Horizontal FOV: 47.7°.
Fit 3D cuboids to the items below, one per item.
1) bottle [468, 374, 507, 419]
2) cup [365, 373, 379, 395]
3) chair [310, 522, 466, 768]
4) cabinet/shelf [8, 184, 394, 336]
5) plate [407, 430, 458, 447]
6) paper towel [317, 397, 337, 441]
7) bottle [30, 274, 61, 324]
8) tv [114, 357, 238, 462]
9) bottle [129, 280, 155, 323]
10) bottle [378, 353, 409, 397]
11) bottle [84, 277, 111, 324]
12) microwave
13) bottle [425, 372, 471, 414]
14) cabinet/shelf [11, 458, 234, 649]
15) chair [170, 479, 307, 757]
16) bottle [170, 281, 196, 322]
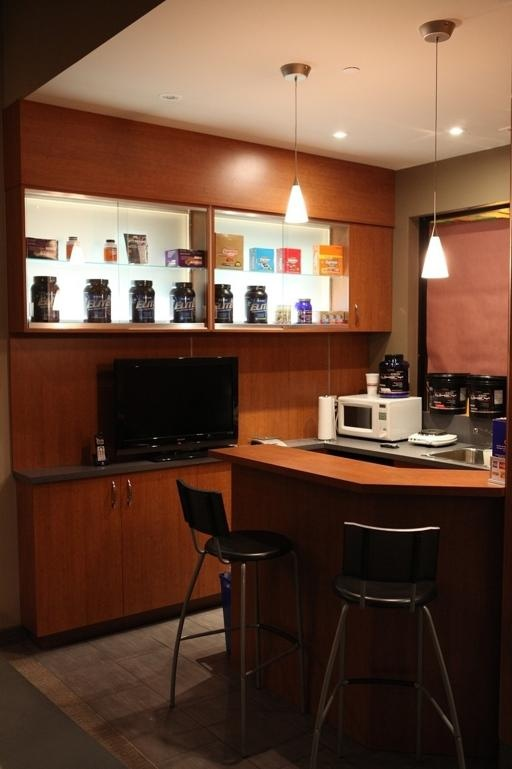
[{"bbox_3d":[1.435,0.066,3.616,0.223,0.264,0.235,-1,4,-16],"label":"bottle"},{"bbox_3d":[0.840,-0.004,4.280,0.122,0.187,0.133,0,1,0],"label":"cup"},{"bbox_3d":[0.373,0.816,1.788,0.490,0.856,0.565,-2,-2,19],"label":"chair"},{"bbox_3d":[-0.125,-0.659,3.618,2.081,0.790,0.276,-1,-10,-20],"label":"cabinet/shelf"},{"bbox_3d":[1.143,0.348,3.722,0.305,0.094,0.292,-1,-3,-8],"label":"plate"},{"bbox_3d":[0.506,0.239,4.128,0.138,0.308,0.209,-1,-2,7],"label":"paper towel"},{"bbox_3d":[-1.032,-0.413,2.844,0.124,0.233,0.051,1,-3,-32],"label":"bottle"},{"bbox_3d":[-0.449,0.126,3.413,0.723,0.591,0.191,-3,12,-18],"label":"tv"},{"bbox_3d":[-0.625,-0.449,3.170,0.134,0.241,0.063,0,-2,-22],"label":"bottle"},{"bbox_3d":[0.973,-0.071,4.074,0.195,0.312,0.267,-2,-3,30],"label":"bottle"},{"bbox_3d":[-0.820,-0.429,3.004,0.133,0.233,0.057,0,-2,-21],"label":"bottle"},{"bbox_3d":[0.824,0.227,4.048,0.453,0.294,0.328,3,5,44],"label":"microwave"},{"bbox_3d":[1.273,0.051,3.830,0.228,0.237,0.248,0,5,3],"label":"bottle"},{"bbox_3d":[-0.725,0.859,2.929,0.882,0.812,0.311,-1,0,-37],"label":"cabinet/shelf"},{"bbox_3d":[-0.136,0.830,2.438,0.486,0.915,1.123,0,-3,-20],"label":"chair"},{"bbox_3d":[-0.409,-0.471,3.353,0.168,0.256,0.068,1,-3,-36],"label":"bottle"}]
